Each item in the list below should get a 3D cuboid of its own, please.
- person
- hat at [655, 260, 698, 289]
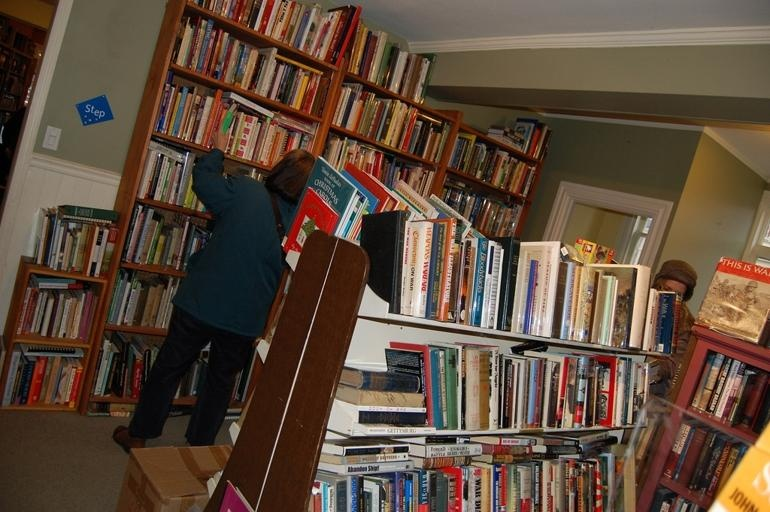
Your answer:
[{"bbox_3d":[-1.123,0.313,3.845,0.884,1.612,0.330,12,4,8],"label":"person"},{"bbox_3d":[2.316,0.134,4.635,0.216,0.204,0.277,-24,32,-21],"label":"hat"}]
